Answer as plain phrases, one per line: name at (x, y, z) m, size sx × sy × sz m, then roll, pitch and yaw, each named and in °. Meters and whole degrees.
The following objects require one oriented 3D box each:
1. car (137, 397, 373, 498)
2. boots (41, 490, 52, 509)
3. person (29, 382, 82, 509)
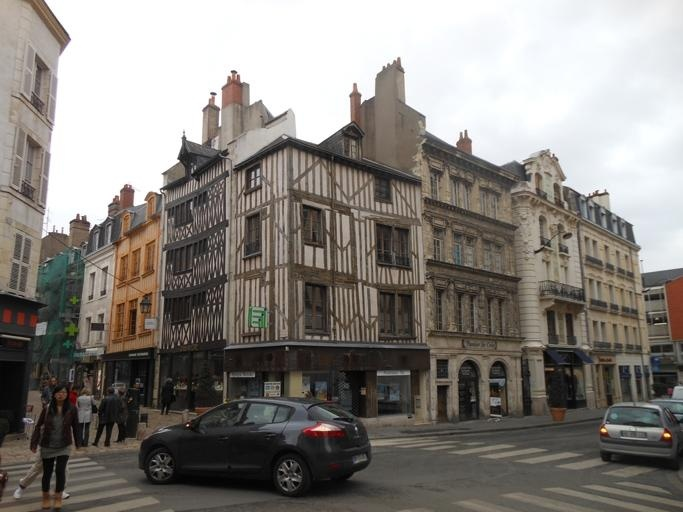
car at (-1.784, 3.898, 11.095) m, size 4.231 × 1.905 × 0.784 m, roll -6°, pitch -20°, yaw 11°
boots at (-5.450, 4.544, 10.020) m, size 0.157 × 0.299 × 0.272 m, roll 8°, pitch -22°, yaw -27°
person at (-5.375, 3.601, 10.177) m, size 0.804 × 2.230 × 0.721 m, roll 8°, pitch -22°, yaw -26°
